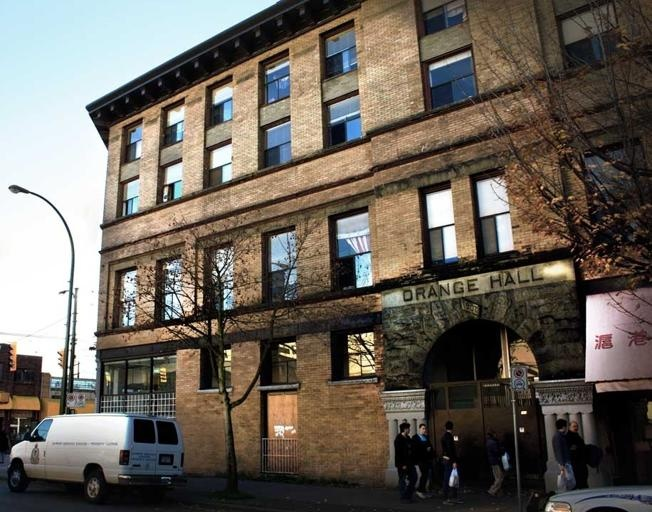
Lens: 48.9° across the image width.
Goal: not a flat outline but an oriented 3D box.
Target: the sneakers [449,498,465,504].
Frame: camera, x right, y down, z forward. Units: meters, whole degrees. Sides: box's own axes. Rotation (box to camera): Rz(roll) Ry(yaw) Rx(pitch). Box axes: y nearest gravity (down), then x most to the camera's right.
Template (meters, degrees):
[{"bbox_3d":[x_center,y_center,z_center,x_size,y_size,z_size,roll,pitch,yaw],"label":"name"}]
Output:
[{"bbox_3d":[3.680,6.855,20.081,0.162,0.191,0.478,-14,-17,40],"label":"sneakers"}]

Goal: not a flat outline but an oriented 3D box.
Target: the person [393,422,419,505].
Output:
[{"bbox_3d":[2.277,5.969,20.714,0.562,2.119,0.754,-7,-17,12],"label":"person"}]

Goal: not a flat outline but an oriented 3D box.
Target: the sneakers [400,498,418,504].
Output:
[{"bbox_3d":[2.320,6.964,20.284,0.430,0.144,0.211,-4,-16,5],"label":"sneakers"}]

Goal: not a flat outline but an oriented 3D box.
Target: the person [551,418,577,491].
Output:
[{"bbox_3d":[6.141,5.186,18.697,0.459,1.776,0.976,-8,-18,15],"label":"person"}]

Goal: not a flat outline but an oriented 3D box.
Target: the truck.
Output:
[{"bbox_3d":[-7.048,6.186,21.842,4.893,1.790,2.577,-8,-23,27],"label":"truck"}]

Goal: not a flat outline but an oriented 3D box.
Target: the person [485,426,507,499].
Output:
[{"bbox_3d":[4.872,5.950,20.606,0.559,1.836,0.537,-4,-17,2],"label":"person"}]
